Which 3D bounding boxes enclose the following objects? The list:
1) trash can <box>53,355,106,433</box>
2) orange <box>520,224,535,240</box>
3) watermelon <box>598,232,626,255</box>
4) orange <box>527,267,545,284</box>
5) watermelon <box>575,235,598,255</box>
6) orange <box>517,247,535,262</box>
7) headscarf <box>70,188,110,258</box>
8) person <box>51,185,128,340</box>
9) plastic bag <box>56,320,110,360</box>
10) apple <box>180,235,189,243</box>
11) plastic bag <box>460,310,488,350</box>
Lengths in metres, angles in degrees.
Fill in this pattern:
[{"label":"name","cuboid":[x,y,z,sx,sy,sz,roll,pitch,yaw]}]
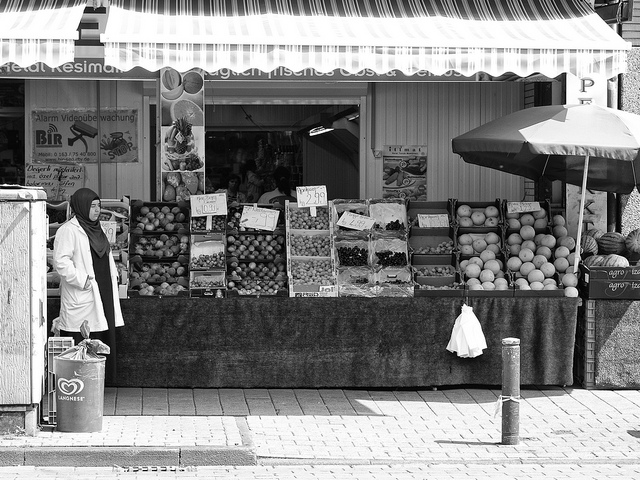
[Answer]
[{"label":"trash can","cuboid":[-2.741,1.704,11.603,0.613,0.904,0.563,1,3,6]},{"label":"orange","cuboid":[2.828,-0.085,14.164,0.171,0.187,0.202,-8,-17,25]},{"label":"watermelon","cuboid":[3.979,0.037,14.116,0.297,0.294,0.353,17,44,33]},{"label":"orange","cuboid":[2.840,0.475,13.616,0.178,0.100,0.187,-29,44,-2]},{"label":"watermelon","cuboid":[3.645,0.121,14.159,0.243,0.198,0.274,27,-26,7]},{"label":"orange","cuboid":[2.784,0.210,13.958,0.233,0.174,0.173,2,11,1]},{"label":"headscarf","cuboid":[-2.769,-0.196,12.333,0.442,0.821,0.276,-1,10,-14]},{"label":"person","cuboid":[-2.805,0.347,12.441,0.880,1.931,1.111,-1,10,-11]},{"label":"plastic bag","cuboid":[-2.679,1.158,11.610,0.579,0.448,0.459,3,-9,-9]},{"label":"apple","cuboid":[-1.848,-0.009,13.902,0.091,0.099,0.052,-1,-29,-4]},{"label":"plastic bag","cuboid":[1.977,1.164,13.084,0.124,0.415,0.389,-6,-10,-35]}]
